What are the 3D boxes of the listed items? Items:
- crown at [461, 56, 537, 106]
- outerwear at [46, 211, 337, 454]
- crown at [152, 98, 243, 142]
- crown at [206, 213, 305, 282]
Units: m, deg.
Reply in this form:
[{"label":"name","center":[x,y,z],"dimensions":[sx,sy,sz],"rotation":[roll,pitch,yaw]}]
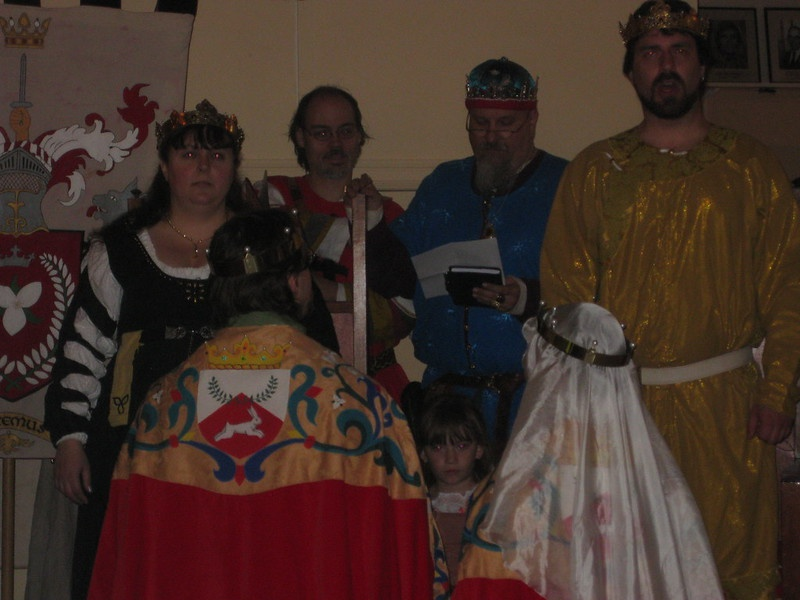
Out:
[{"label":"crown","center":[0.487,-1.025,6.022],"dimensions":[0.458,0.267,0.513],"rotation":[0,12,1]},{"label":"outerwear","center":[-0.928,0.325,5.447],"dimensions":[1.275,1.163,0.714],"rotation":[-4,-8,-7]},{"label":"crown","center":[-0.874,-0.773,5.491],"dimensions":[0.229,0.085,0.236],"rotation":[-4,-17,-4]},{"label":"crown","center":[-0.530,-0.214,4.638],"dimensions":[0.241,0.159,0.263],"rotation":[-10,23,12]}]
